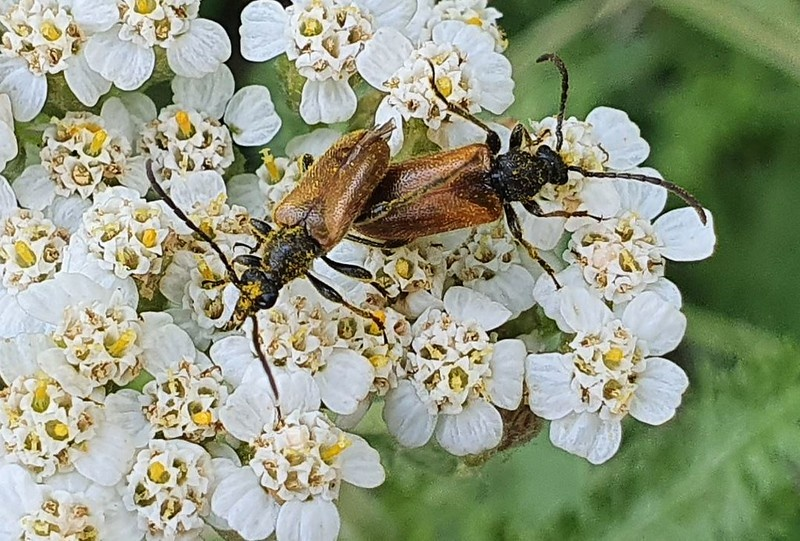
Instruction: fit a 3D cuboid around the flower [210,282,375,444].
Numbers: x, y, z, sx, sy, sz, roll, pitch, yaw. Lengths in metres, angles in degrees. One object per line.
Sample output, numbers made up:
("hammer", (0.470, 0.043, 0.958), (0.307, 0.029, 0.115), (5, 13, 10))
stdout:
("flower", (-0.365, 0.310, 3.530), (0.437, 0.160, 0.456), (16, 44, 29))
